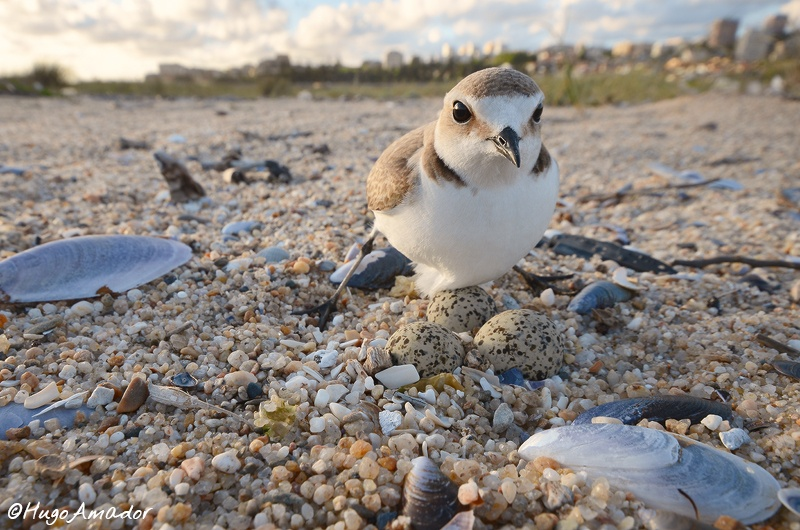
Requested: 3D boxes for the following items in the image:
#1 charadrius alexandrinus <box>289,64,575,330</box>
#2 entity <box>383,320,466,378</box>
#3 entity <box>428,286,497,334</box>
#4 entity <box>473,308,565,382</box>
[{"bbox_3d":[0.328,-0.408,4.918,1.142,1.666,1.615,1,-11,5],"label":"charadrius alexandrinus"},{"bbox_3d":[0.172,0.573,4.698,0.537,0.263,0.271,-4,26,-2],"label":"entity"},{"bbox_3d":[0.424,0.327,4.977,0.399,0.326,0.320,-5,-13,0],"label":"entity"},{"bbox_3d":[0.813,0.524,4.758,0.539,0.439,0.432,5,21,7],"label":"entity"}]
